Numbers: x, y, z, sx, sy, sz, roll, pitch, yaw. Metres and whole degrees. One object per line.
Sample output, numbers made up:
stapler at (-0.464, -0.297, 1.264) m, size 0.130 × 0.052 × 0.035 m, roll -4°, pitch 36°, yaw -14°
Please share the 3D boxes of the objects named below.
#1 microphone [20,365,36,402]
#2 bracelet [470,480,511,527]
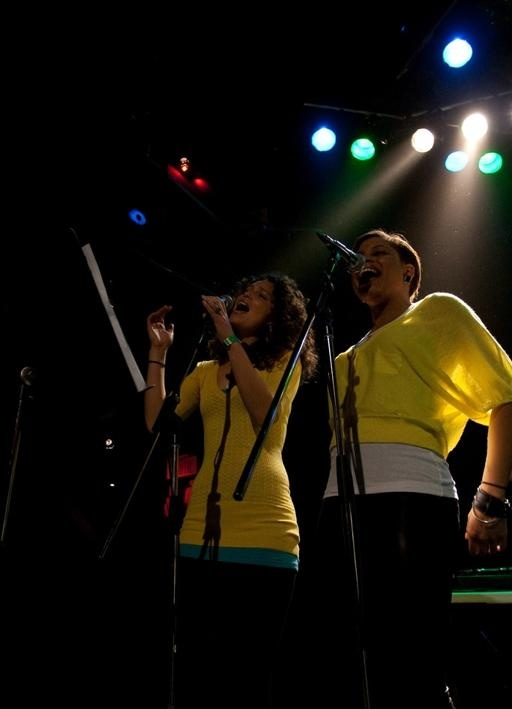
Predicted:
microphone at (-1.113, 0.144, 3.204) m, size 0.031 × 0.141 × 0.149 m, roll 0°, pitch -18°, yaw -8°
bracelet at (0.654, 0.435, 1.868) m, size 0.110 × 0.077 × 0.120 m, roll 8°, pitch 19°, yaw 15°
